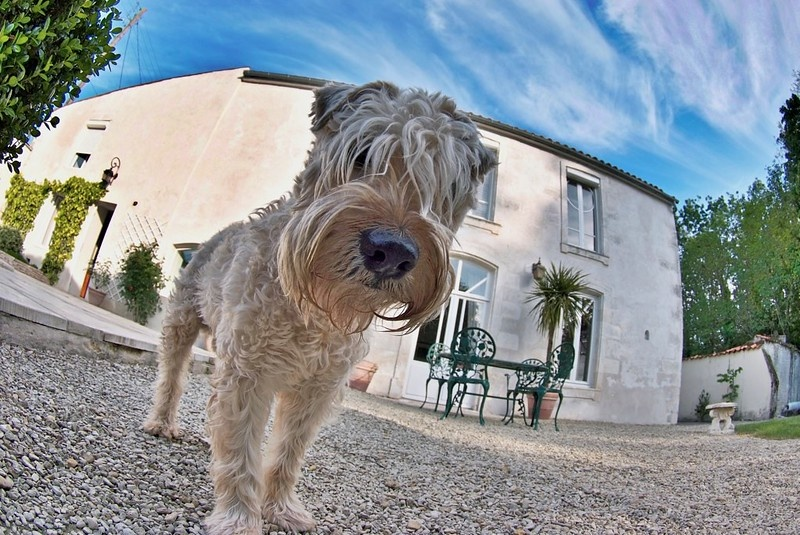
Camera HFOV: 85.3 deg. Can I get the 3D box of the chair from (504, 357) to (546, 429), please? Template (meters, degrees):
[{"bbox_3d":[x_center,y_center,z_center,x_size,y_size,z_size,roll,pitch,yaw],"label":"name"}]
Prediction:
[{"bbox_3d":[2.689,2.605,9.137,0.818,1.181,0.857,-1,-1,15],"label":"chair"}]

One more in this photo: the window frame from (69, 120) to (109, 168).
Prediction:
[{"bbox_3d":[-11.260,-4.518,15.730,1.490,1.821,0.213,6,-5,17],"label":"window frame"}]
